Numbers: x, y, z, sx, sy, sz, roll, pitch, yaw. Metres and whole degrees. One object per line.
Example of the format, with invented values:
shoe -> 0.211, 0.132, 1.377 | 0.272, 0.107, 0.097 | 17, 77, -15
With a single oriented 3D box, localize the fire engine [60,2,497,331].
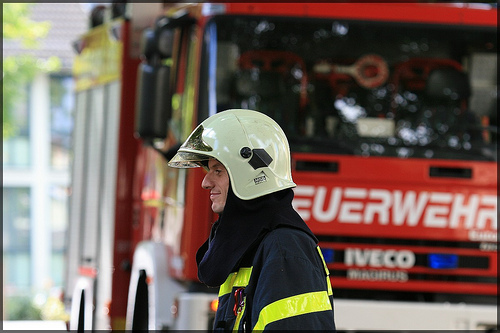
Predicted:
fire engine -> 0.167, 0.045, 13.508 | 3.052, 2.847, 5.404 | 2, -5, -12
